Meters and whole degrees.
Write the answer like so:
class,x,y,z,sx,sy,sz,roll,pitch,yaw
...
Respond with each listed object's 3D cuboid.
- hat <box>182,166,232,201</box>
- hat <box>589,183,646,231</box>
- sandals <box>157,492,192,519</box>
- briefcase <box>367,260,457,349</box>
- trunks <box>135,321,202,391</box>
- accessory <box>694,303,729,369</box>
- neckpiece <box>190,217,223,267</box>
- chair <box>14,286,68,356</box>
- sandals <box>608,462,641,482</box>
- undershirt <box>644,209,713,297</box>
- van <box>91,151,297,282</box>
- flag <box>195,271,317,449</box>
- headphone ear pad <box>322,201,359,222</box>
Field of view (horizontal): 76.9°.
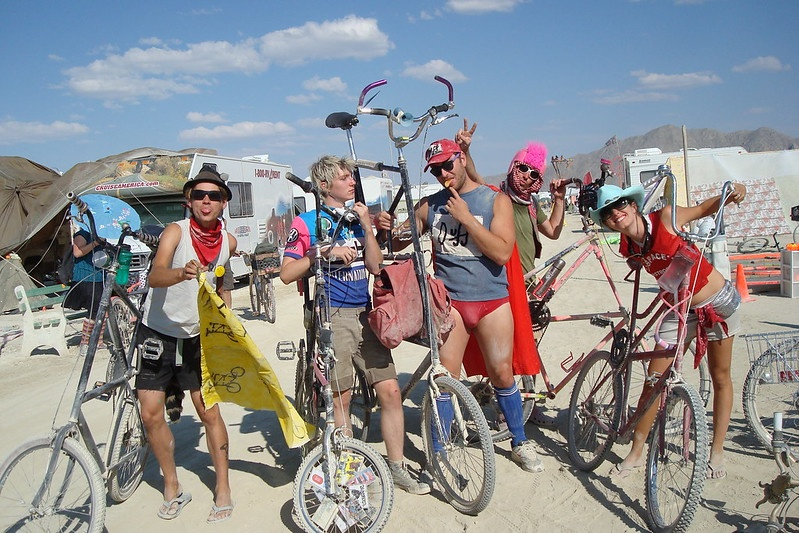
class,x,y,z,sx,sy,sz,roll,pitch,yaw
hat,-1.602,-0.728,4.268,0.328,0.152,0.345,4,-14,-2
hat,1.895,-0.529,4.375,0.431,0.346,0.223,3,14,26
sandals,-2.018,2.150,4.558,0.146,0.082,0.263,17,29,22
briefcase,0.102,0.333,4.322,0.406,0.692,0.734,-7,-1,43
trunks,-1.996,0.744,4.324,0.598,0.606,0.350,2,-6,-23
accessory,2.684,0.584,4.363,0.352,0.539,0.171,-10,14,-25
neckpiece,-1.642,-0.303,4.325,0.198,0.140,0.270,17,20,-11
chair,-6.800,1.016,9.251,0.947,1.216,0.964,-6,-5,17
sandals,2.063,1.880,4.635,0.297,0.124,0.076,-33,-37,19
undershirt,2.385,-0.134,4.328,0.481,0.732,0.439,8,17,41
van,-5.615,-1.327,14.426,3.441,3.745,6.560,1,8,16
flag,-1.218,0.679,4.300,0.996,1.488,0.285,3,-41,-32
headphone ear pad,-0.499,-0.455,4.332,0.246,0.092,0.186,12,8,28
